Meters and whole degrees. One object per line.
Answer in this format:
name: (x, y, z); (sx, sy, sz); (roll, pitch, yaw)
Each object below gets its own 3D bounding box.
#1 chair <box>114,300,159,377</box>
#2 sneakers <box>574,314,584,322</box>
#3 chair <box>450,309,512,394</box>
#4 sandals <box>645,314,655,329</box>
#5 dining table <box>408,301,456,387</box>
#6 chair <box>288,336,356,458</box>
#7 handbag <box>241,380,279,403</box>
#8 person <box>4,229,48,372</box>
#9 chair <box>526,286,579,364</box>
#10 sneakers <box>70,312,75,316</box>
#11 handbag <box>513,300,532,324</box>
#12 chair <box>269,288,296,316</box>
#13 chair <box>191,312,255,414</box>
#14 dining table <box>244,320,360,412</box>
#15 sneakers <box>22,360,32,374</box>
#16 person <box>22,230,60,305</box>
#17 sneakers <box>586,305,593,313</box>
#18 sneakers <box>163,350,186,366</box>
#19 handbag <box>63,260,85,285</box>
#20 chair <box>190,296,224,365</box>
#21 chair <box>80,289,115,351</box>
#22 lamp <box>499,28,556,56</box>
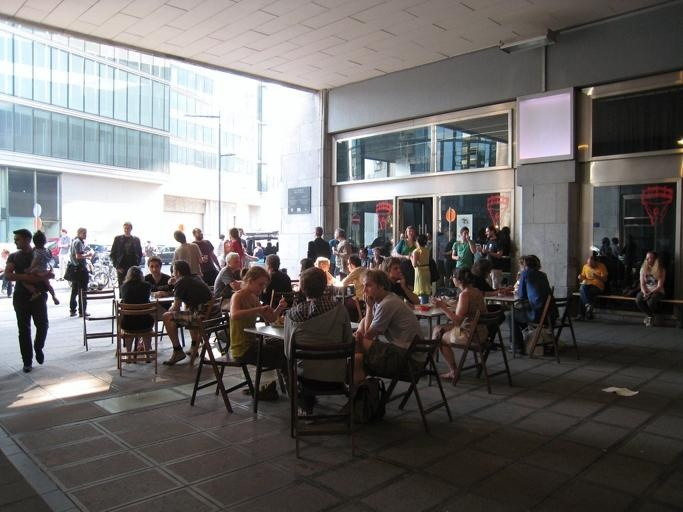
chair: (-3.300, 1.204, 8.296); (0.629, 1.072, 1.603); (-3, 7, -24)
sneakers: (5.393, 1.400, 11.749); (0.265, 0.127, 0.094); (0, -1, 22)
chair: (1.986, 1.273, 7.376); (0.612, 1.068, 0.618); (-1, 3, -42)
sandals: (6.463, 1.372, 10.889); (0.118, 0.149, 0.338); (-3, 5, 25)
dining table: (1.384, 1.297, 7.978); (0.682, 0.875, 0.890); (-4, -4, -22)
chair: (-0.225, 1.435, 5.668); (0.739, 1.201, 0.886); (0, 7, 0)
handbag: (-1.085, 1.782, 6.895); (0.511, 0.233, 0.179); (-2, -6, 32)
person: (-4.856, 0.662, 8.044); (0.672, 2.100, 0.572); (5, 9, 41)
chair: (3.564, 1.184, 8.849); (0.688, 1.016, 0.754); (-2, -7, -13)
sneakers: (-6.506, 1.414, 12.491); (0.108, 0.110, 0.067); (-3, -3, 12)
handbag: (3.067, 0.927, 8.901); (0.351, 0.591, 0.370); (0, 3, 23)
chair: (-0.938, 0.698, 8.323); (0.382, 0.671, 0.432); (0, 10, -7)
chair: (-1.697, 1.389, 6.894); (0.629, 1.118, 0.641); (-11, 0, 27)
dining table: (-0.641, 1.432, 6.611); (1.036, 1.139, 1.181); (-1, 3, -22)
sneakers: (-4.739, 1.670, 7.803); (0.073, 0.156, 0.216); (4, 7, 13)
person: (-4.828, 0.221, 8.198); (0.440, 1.171, 0.454); (-5, 4, 38)
sneakers: (5.514, 1.184, 11.559); (0.114, 0.135, 0.138); (-1, 4, -31)
sneakers: (-2.649, 1.647, 8.303); (0.432, 0.196, 0.151); (-13, 7, 24)
handbag: (-6.375, 0.395, 12.397); (0.497, 0.575, 0.319); (-3, 7, -23)
chair: (-2.172, 1.223, 8.234); (0.598, 0.807, 0.535); (-7, -5, 27)
chair: (-4.355, 1.121, 9.328); (0.676, 1.032, 0.767); (1, -4, -19)
lamp: (4.158, -4.803, 11.563); (1.156, 0.372, 0.771); (3, 7, 24)
